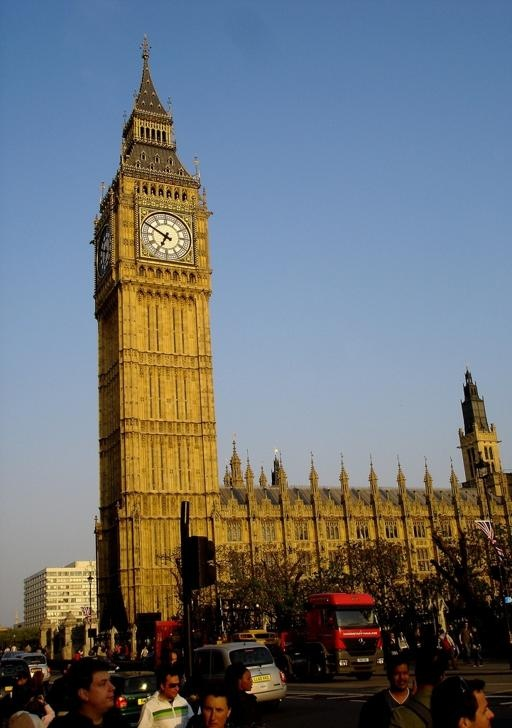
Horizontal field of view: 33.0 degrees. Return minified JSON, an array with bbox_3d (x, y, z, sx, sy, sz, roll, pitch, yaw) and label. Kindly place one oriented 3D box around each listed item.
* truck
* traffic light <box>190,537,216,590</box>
[{"bbox_3d":[2.249,9.309,28.729,2.013,2.218,5.057,11,-28,-27],"label":"truck"},{"bbox_3d":[-0.667,2.440,10.644,0.319,0.600,0.702,-6,-15,-4],"label":"traffic light"}]
